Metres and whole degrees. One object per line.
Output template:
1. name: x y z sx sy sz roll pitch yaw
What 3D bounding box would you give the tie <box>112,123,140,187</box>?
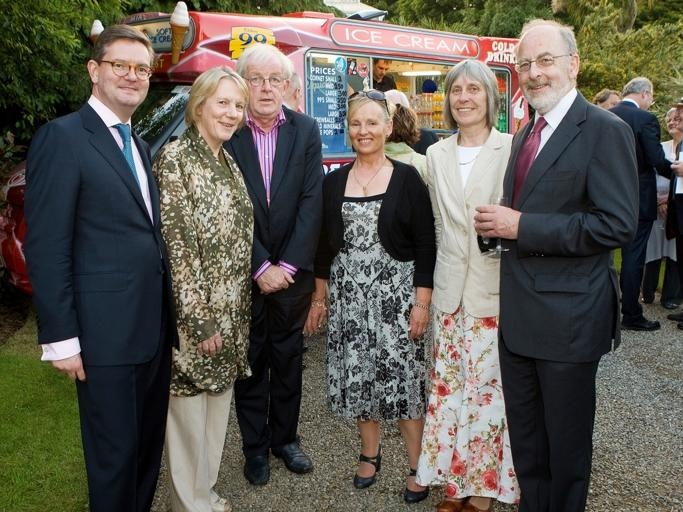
1. tie: -1.230 -0.628 3.794 0.084 0.480 0.056 -10 2 -12

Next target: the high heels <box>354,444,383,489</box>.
1. high heels: 0.193 1.531 4.714 0.098 0.140 0.318 0 4 19

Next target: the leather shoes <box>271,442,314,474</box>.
1. leather shoes: -0.365 1.480 4.876 0.142 0.159 0.316 -7 14 -41

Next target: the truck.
1. truck: -0.547 -2.026 9.966 8.280 4.631 2.930 -6 8 -41
